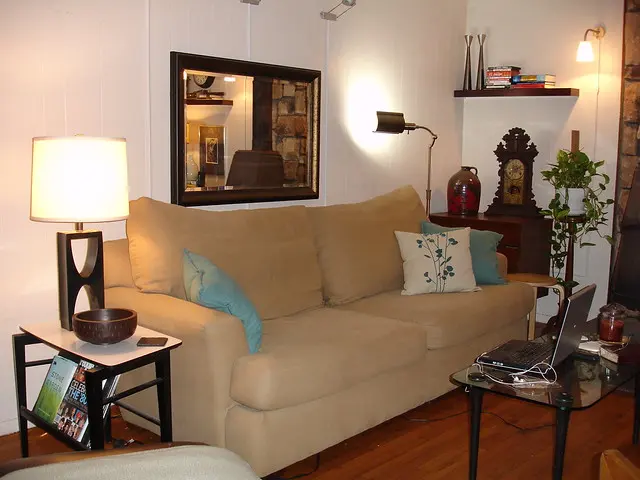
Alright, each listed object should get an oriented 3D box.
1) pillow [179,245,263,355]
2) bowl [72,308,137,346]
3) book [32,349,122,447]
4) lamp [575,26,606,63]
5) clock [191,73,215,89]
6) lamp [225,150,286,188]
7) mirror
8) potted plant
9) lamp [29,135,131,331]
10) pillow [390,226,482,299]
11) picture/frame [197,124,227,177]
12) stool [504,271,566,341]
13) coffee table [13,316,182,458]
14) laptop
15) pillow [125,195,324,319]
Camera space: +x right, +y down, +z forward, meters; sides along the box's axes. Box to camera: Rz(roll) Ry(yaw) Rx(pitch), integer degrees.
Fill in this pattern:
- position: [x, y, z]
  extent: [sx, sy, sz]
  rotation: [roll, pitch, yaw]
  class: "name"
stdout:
- position: [-0.503, 0.293, 2.653]
  extent: [0.265, 0.454, 0.494]
  rotation: [-8, 13, -31]
  class: "pillow"
- position: [-0.948, 0.385, 2.357]
  extent: [0.265, 0.117, 0.265]
  rotation: [4, 6, 0]
  class: "bowl"
- position: [-1.107, 0.683, 2.361]
  extent: [0.400, 0.380, 0.096]
  rotation: [16, 2, 42]
  class: "book"
- position: [2.171, -1.591, 4.320]
  extent: [0.196, 0.288, 0.307]
  rotation: [7, 14, 34]
  class: "lamp"
- position: [-0.729, -0.991, 3.333]
  extent: [0.090, 0.091, 0.021]
  rotation: [-9, 7, -43]
  class: "clock"
- position: [-0.433, -0.534, 3.645]
  extent: [0.315, 0.281, 0.269]
  rotation: [-6, 16, -42]
  class: "lamp"
- position: [-0.471, -0.707, 3.564]
  extent: [1.131, 0.925, 0.039]
  rotation: [6, 12, 17]
  class: "mirror"
- position: [2.096, -0.164, 4.364]
  extent: [0.548, 1.133, 0.743]
  rotation: [5, 13, 27]
  class: "potted plant"
- position: [-1.119, -0.022, 2.536]
  extent: [0.406, 0.909, 0.395]
  rotation: [-3, 7, -30]
  class: "lamp"
- position: [0.712, 0.146, 3.686]
  extent: [0.731, 0.354, 0.599]
  rotation: [-3, 48, 1]
  class: "pillow"
- position: [-0.686, -0.563, 3.414]
  extent: [0.180, 0.313, 0.016]
  rotation: [4, 10, 18]
  class: "picture/frame"
- position: [1.546, 0.505, 4.039]
  extent: [0.377, 0.432, 0.367]
  rotation: [0, 11, -29]
  class: "stool"
- position: [-1.028, 0.740, 2.458]
  extent: [0.638, 0.629, 0.475]
  rotation: [9, 12, 29]
  class: "coffee table"
- position: [1.014, 0.396, 2.542]
  extent: [0.373, 0.312, 0.511]
  rotation: [4, 4, 35]
  class: "laptop"
- position: [-0.495, 0.189, 3.215]
  extent: [0.310, 0.767, 1.360]
  rotation: [-16, -9, 38]
  class: "pillow"
